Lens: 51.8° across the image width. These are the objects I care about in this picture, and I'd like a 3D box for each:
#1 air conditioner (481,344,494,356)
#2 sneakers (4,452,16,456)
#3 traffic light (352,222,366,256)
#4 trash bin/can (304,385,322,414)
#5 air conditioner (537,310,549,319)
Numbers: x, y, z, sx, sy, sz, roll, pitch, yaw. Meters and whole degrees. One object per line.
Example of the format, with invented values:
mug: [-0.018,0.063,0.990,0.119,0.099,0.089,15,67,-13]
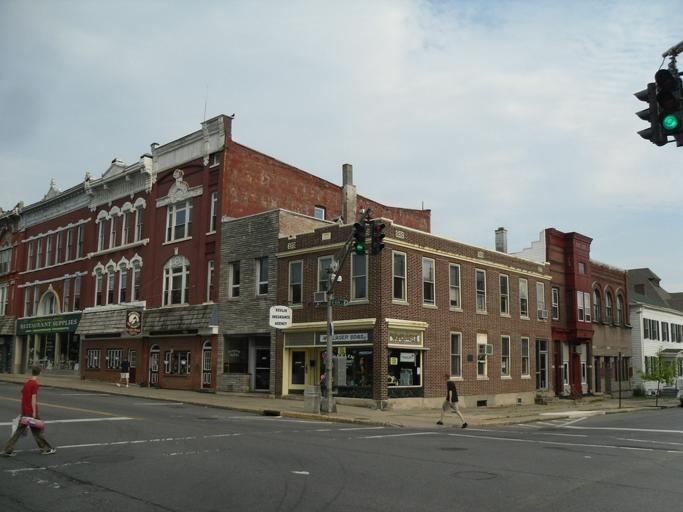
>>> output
air conditioner: [8.186,5.281,40.102,1.052,0.767,0.553,6,-11,-38]
sneakers: [-8.543,5.046,18.073,0.301,0.102,0.251,8,-17,-31]
traffic light: [0.686,-0.740,26.857,0.397,1.254,0.381,2,-14,-12]
trash bin/can: [-1.227,6.094,30.223,0.694,1.159,0.660,0,-14,-3]
air conditioner: [13.122,3.756,45.756,0.499,0.650,0.931,-8,-13,42]
